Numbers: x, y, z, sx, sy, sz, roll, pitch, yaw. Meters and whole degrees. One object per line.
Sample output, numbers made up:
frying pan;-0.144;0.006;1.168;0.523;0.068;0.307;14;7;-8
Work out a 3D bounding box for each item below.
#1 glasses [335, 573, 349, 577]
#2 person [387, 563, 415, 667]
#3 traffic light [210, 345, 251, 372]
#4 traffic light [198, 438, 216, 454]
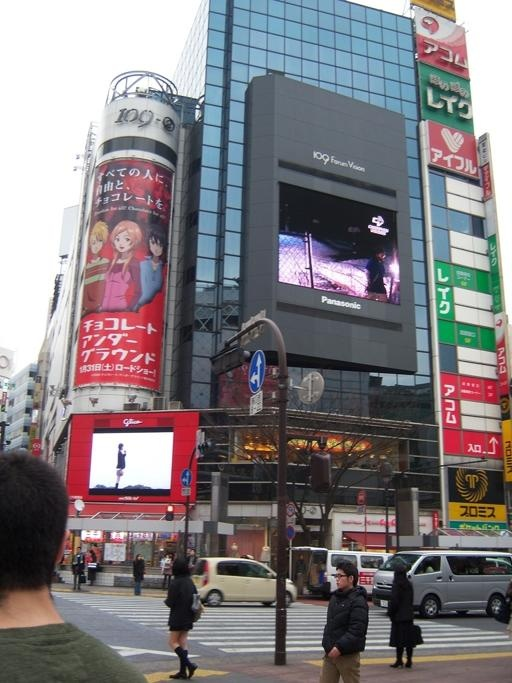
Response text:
glasses;0.835;2.263;7.425;0.121;0.030;0.107;4;-14;-3
person;2.222;4.172;11.693;0.370;1.445;0.684;-3;-19;9
traffic light;-0.543;0.400;18.086;0.408;0.337;1.563;-12;-7;-24
traffic light;-1.578;3.288;24.557;0.630;0.646;0.725;-2;-31;-5
